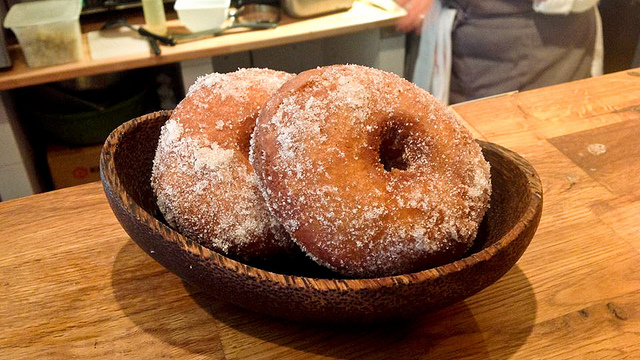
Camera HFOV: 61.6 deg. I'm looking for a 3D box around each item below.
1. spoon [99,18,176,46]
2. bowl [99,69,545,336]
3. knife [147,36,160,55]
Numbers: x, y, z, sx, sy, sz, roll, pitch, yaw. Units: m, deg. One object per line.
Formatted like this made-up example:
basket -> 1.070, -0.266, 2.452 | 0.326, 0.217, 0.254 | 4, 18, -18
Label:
spoon -> -0.742, -0.609, 2.182 | 0.365, 0.048, 0.135 | 19, 45, 26
bowl -> -0.033, 0.114, 1.178 | 0.808, 0.335, 0.628 | 8, 31, -21
knife -> -0.651, -0.524, 2.099 | 0.025, 0.021, 0.124 | -46, 51, 9
